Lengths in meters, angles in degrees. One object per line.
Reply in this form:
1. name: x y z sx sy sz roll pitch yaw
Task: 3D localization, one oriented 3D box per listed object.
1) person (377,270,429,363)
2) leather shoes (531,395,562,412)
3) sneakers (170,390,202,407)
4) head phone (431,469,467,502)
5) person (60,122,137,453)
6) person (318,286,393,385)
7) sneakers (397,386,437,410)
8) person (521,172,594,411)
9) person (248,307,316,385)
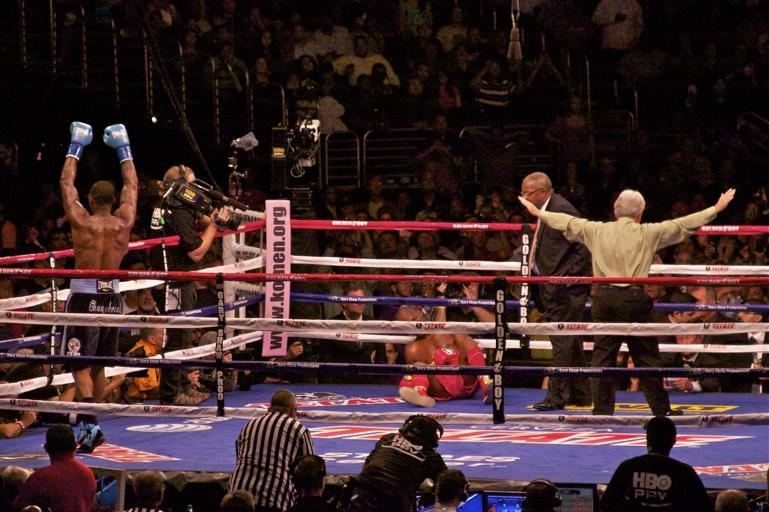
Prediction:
1. person: 0.130 0.601 15.049 0.374 1.019 0.745 -28 30 11
2. leather shoes: 1.801 1.650 13.116 0.327 0.117 0.135 1 1 5
3. sneakers: -2.263 1.644 13.616 0.310 0.089 0.223 2 -1 7
4. head phone: 0.615 2.071 10.667 0.302 0.255 0.295 4 8 10
5. person: -3.012 0.277 12.595 0.763 3.431 0.826 0 0 -13
6. person: -0.360 1.021 14.936 1.091 1.169 0.416 1 -7 2
7. sneakers: 0.378 1.587 13.357 0.382 0.200 0.136 16 -36 18
8. person: 1.643 0.346 13.163 1.052 2.408 0.820 -4 -10 10
9. person: -1.167 1.251 15.073 0.781 0.836 0.311 -2 5 1
